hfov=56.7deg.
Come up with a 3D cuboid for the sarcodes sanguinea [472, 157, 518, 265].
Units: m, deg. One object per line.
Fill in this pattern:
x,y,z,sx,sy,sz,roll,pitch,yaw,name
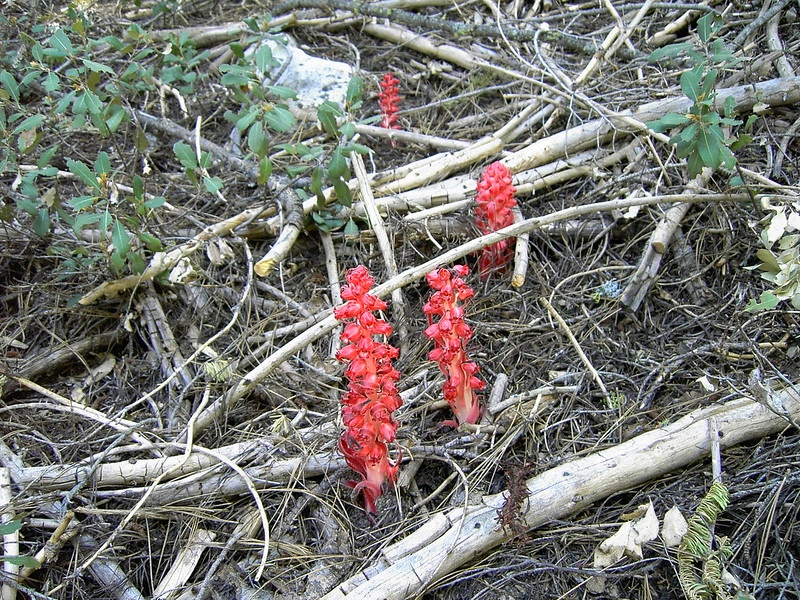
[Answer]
0.529,-0.463,4.090,0.296,0.721,0.265,1,42,9,sarcodes sanguinea
